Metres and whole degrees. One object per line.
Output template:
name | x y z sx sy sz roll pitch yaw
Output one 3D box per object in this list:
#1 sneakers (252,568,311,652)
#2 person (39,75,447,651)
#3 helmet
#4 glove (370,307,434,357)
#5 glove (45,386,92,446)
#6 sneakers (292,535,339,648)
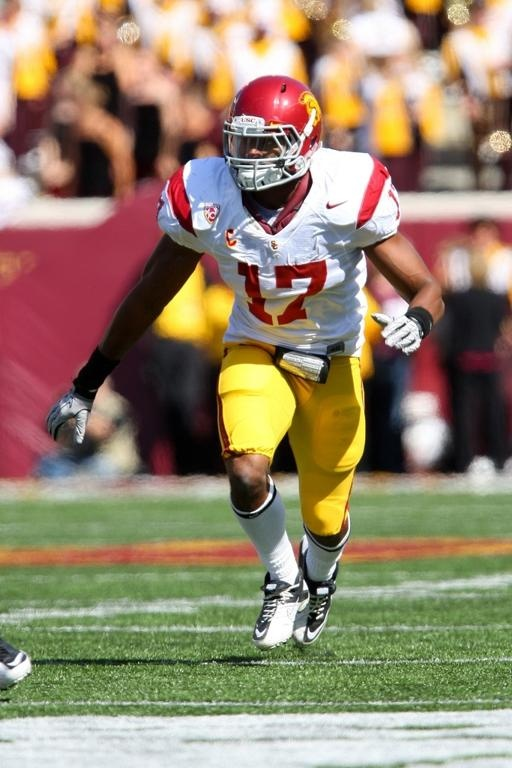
sneakers | 0.059 0.564 2.372 0.090 0.092 0.222 5 45 24
person | 0.106 0.062 2.328 0.895 1.468 0.775 -36 43 -29
helmet | 0.064 -0.579 2.173 0.267 0.235 0.326 8 25 32
glove | 0.303 -0.108 1.956 0.103 0.047 0.127 28 57 11
glove | -0.443 0.083 2.284 0.134 0.119 0.055 -55 12 -10
sneakers | 0.181 0.553 2.512 0.109 0.278 0.123 18 -15 -18
